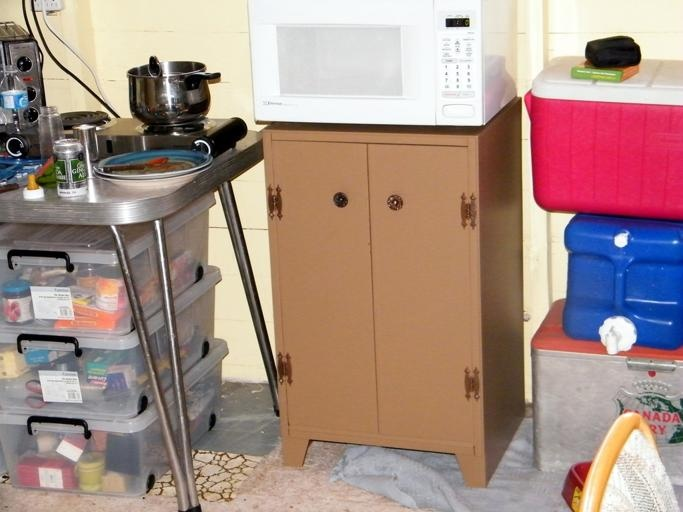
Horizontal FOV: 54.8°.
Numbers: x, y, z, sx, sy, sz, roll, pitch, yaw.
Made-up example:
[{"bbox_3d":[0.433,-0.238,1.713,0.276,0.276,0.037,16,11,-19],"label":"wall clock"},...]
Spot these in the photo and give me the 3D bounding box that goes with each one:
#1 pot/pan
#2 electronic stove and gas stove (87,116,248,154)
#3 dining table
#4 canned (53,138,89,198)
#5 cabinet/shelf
[{"bbox_3d":[-0.551,-0.578,2.281,0.371,0.223,0.221,4,18,11],"label":"pot/pan"},{"bbox_3d":[-0.583,-0.418,2.270,0.407,0.095,0.220,4,18,17],"label":"electronic stove and gas stove"},{"bbox_3d":[-0.591,0.200,2.223,0.495,1.035,0.700,5,22,19],"label":"dining table"},{"bbox_3d":[-0.777,-0.248,1.877,0.080,0.136,0.114,-9,22,-17],"label":"canned"},{"bbox_3d":[0.200,0.140,2.113,0.838,1.160,0.436,-1,21,5],"label":"cabinet/shelf"}]
